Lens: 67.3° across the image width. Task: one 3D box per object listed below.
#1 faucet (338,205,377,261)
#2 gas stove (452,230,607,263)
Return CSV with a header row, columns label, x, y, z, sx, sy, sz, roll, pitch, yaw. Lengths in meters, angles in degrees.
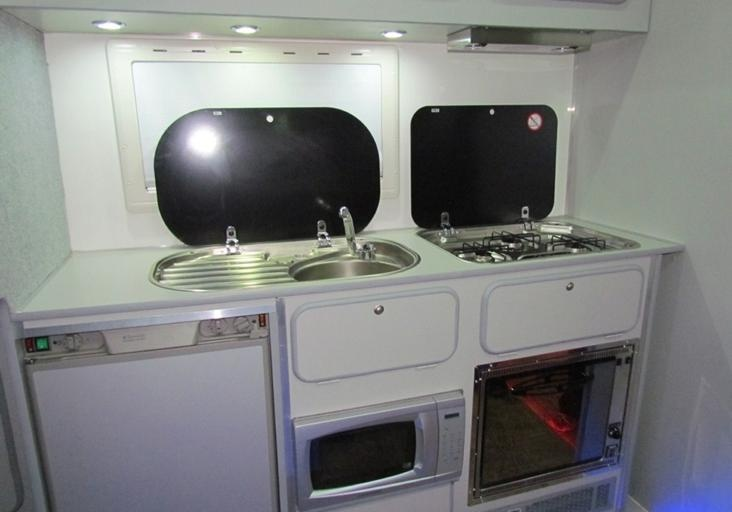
label,x,y,z,sx,sy,sz,roll,pitch,yaw
faucet,-0.032,-0.112,2.535,0.141,0.243,0.198,0,14,5
gas stove,0.747,-0.045,2.526,0.731,0.055,0.527,0,14,6
